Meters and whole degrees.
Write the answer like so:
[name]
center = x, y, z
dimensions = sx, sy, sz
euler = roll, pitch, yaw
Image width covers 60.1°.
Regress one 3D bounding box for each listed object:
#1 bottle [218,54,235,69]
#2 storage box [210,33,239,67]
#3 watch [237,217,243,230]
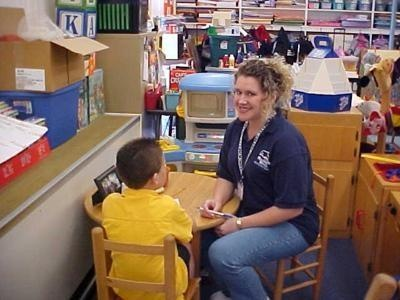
[bottle]
center = 0.379, -1.229, 4.797
dimensions = 0.209, 0.225, 0.118
euler = 7, 24, 17
[storage box]
center = 0.319, -1.407, 4.891
dimensions = 0.405, 0.480, 0.361
euler = -1, 12, 0
[watch]
center = 0.217, 0.400, 1.895
dimensions = 0.029, 0.047, 0.045
euler = 2, 11, 0
